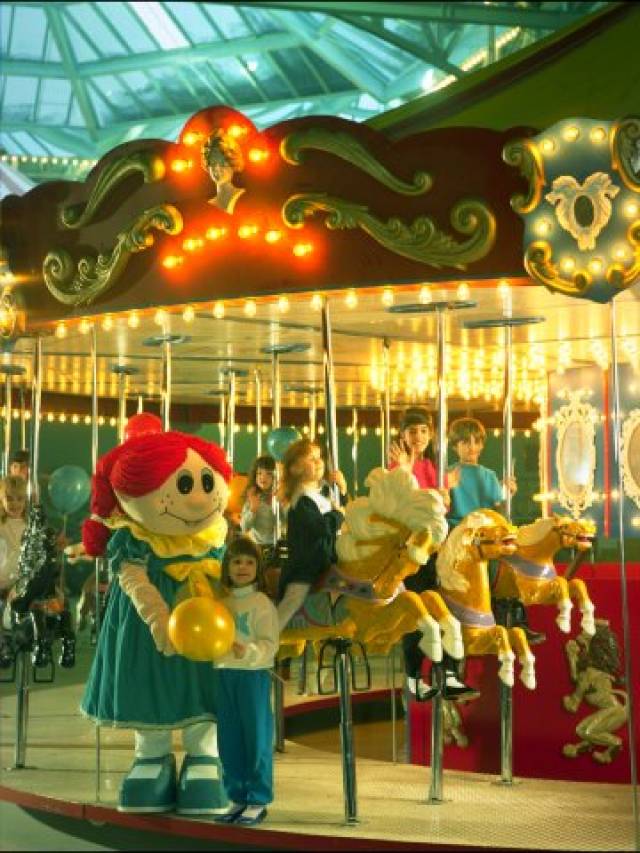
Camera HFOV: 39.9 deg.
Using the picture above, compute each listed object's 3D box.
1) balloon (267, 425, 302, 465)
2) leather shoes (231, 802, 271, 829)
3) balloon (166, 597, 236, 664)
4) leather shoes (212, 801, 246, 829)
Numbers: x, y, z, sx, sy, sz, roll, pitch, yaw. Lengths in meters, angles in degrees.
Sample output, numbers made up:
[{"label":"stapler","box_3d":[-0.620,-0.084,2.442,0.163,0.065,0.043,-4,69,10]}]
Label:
[{"label":"balloon","box_3d":[-0.279,0.135,6.183,0.303,0.282,0.270,3,0,-8]},{"label":"leather shoes","box_3d":[-0.261,1.527,3.452,0.055,0.052,0.144,-9,-17,26]},{"label":"balloon","box_3d":[-0.428,0.725,3.148,0.257,0.222,0.140,9,2,-4]},{"label":"leather shoes","box_3d":[-0.354,1.521,3.424,0.159,0.052,0.051,0,-9,-12]}]
